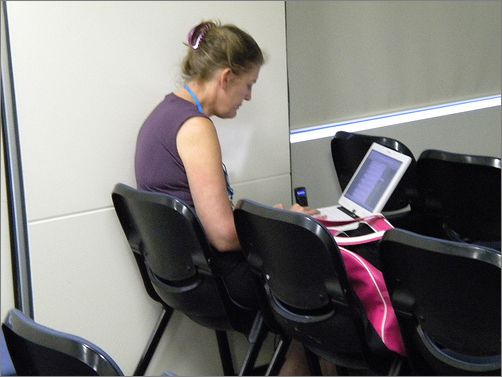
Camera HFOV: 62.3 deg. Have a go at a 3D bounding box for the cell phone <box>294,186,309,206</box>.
[{"bbox_3d":[0.266,0.041,2.249,0.078,0.168,0.084,-3,4,1],"label":"cell phone"}]

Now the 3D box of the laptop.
[{"bbox_3d":[0.447,-0.025,2.019,0.498,0.394,0.360,4,15,-16],"label":"laptop"}]

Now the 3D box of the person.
[{"bbox_3d":[-0.232,-0.332,2.527,1.095,2.135,0.798,-11,14,-27],"label":"person"}]

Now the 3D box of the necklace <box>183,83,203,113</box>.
[{"bbox_3d":[-0.219,-0.373,1.744,0.037,0.110,0.094,-30,45,-8],"label":"necklace"}]
